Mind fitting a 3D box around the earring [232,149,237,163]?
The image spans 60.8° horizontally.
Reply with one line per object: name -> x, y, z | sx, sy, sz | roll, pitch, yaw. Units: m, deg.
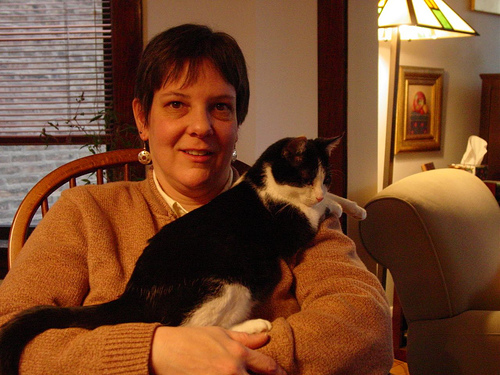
earring -> -0.049, -0.108, 1.506 | 0.006, 0.028, 0.028 | 28, -27, 10
